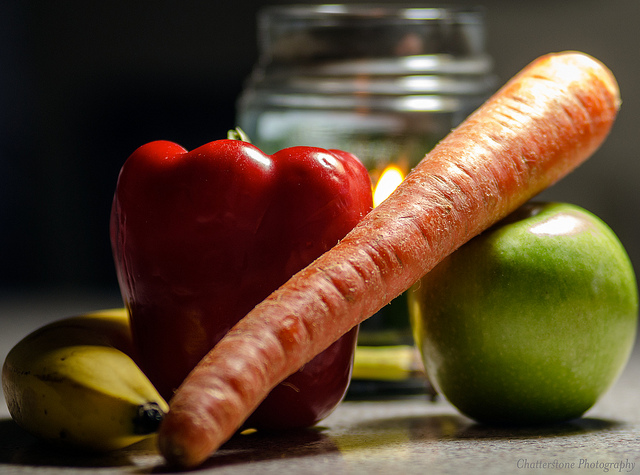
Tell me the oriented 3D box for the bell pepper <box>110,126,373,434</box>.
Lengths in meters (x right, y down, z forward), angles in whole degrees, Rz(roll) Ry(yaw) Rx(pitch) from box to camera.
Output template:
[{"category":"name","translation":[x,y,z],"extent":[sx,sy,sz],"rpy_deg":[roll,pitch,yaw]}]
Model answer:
[{"category":"bell pepper","translation":[-0.101,0.052,0.809],"extent":[0.303,0.327,0.311],"rpy_deg":[1,-3,10]}]

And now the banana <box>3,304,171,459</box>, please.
[{"category":"banana","translation":[-0.221,0.148,0.653],"extent":[0.148,0.060,0.148],"rpy_deg":[-3,17,19]}]
